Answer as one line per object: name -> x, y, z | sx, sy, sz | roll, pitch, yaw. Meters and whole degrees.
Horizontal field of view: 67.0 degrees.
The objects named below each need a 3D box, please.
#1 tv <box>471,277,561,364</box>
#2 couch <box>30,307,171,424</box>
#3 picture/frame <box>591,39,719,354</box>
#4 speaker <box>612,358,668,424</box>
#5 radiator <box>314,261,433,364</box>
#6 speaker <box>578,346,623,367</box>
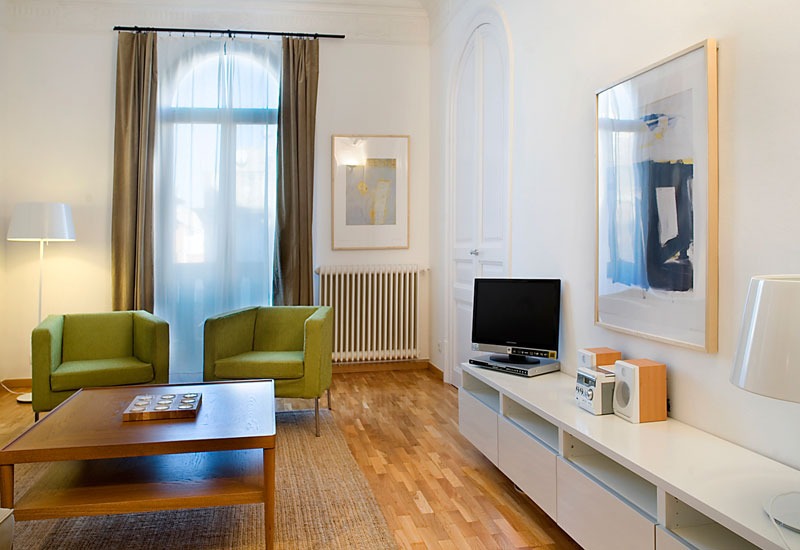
tv -> 0.829, 0.327, 4.165 | 0.528, 0.505, 0.126 | -1, -7, 33
couch -> -2.488, 0.706, 4.984 | 0.909, 0.818, 0.881 | 1, -1, -30
picture/frame -> 1.404, -0.418, 3.407 | 0.059, 1.531, 0.957 | -2, 2, -19
speaker -> 1.316, 0.634, 3.321 | 0.202, 0.313, 0.210 | -2, 2, -12
radiator -> -0.303, 0.398, 6.399 | 1.143, 1.068, 0.172 | -2, -13, 17
speaker -> 1.183, 0.484, 3.586 | 0.132, 0.096, 0.141 | 1, 0, -7
